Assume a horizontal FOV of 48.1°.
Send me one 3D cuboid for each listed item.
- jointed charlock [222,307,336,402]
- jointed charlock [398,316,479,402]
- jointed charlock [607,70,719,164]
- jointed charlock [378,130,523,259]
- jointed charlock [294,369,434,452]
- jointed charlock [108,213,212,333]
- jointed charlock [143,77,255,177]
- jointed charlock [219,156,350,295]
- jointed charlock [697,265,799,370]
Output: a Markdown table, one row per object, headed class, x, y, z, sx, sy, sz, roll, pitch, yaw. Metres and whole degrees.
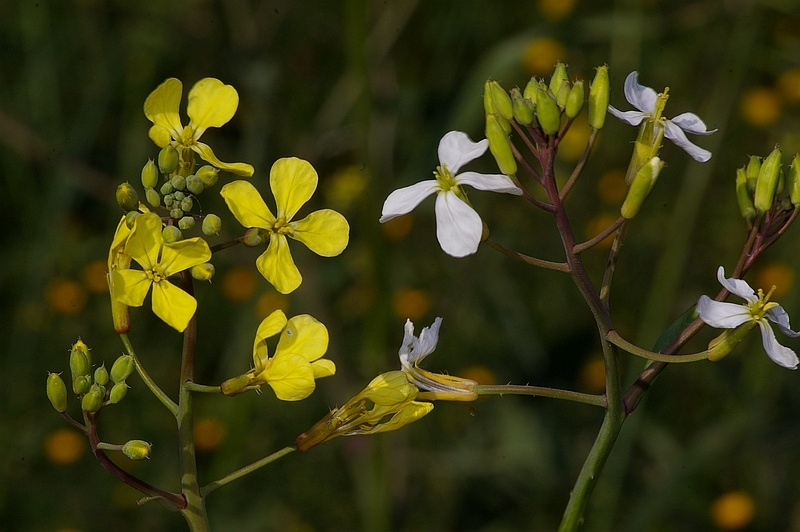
| class | x | y | z | sx | sy | sz | roll | pitch | yaw |
| --- | --- | --- | --- | --- | --- | --- | --- | --- | --- |
| jointed charlock | -0.402 | 0.286 | 2.876 | 0.340 | 0.285 | 0.090 | -5 | 12 | 1 |
| jointed charlock | 0.128 | 0.367 | 3.084 | 0.256 | 0.158 | 0.261 | 21 | 48 | 1 |
| jointed charlock | 0.910 | -0.556 | 3.068 | 0.322 | 0.139 | 0.322 | 30 | 0 | -34 |
| jointed charlock | 0.172 | -0.237 | 2.946 | 0.377 | 0.181 | 0.445 | -10 | 48 | 14 |
| jointed charlock | -0.094 | 0.505 | 3.047 | 0.473 | 0.225 | 0.222 | -15 | -16 | 10 |
| jointed charlock | -0.751 | 0.012 | 2.818 | 0.309 | 0.362 | 0.099 | -3 | 12 | 12 |
| jointed charlock | -0.707 | -0.443 | 2.938 | 0.348 | 0.184 | 0.289 | -39 | -27 | 14 |
| jointed charlock | -0.377 | -0.136 | 2.951 | 0.390 | 0.437 | 0.230 | -9 | 13 | -17 |
| jointed charlock | 1.126 | 0.173 | 2.924 | 0.321 | 0.406 | 0.316 | -2 | 13 | 14 |
